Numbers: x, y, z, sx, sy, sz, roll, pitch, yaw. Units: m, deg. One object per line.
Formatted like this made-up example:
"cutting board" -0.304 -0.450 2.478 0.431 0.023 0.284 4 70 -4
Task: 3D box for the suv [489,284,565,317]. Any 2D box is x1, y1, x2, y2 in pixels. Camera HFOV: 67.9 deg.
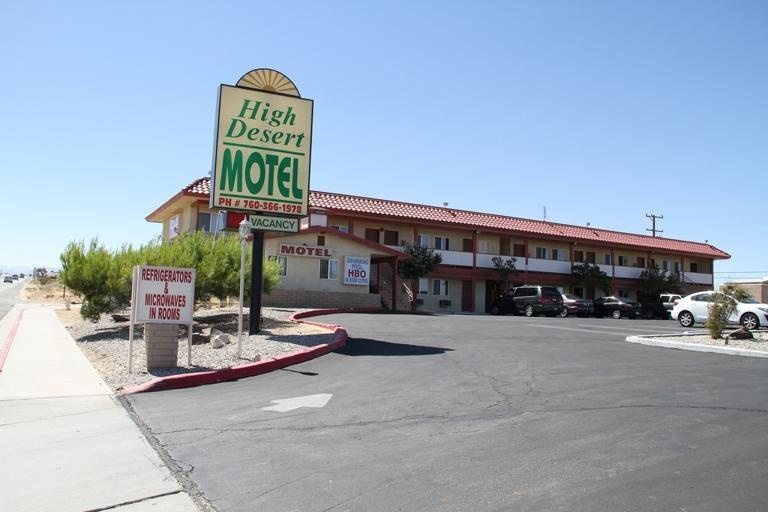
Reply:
"suv" 9.043 2.762 35.507 1.988 1.273 3.641 4 -3 -25

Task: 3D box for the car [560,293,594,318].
"car" 11.939 3.073 35.585 1.900 1.112 0.955 0 3 -3
